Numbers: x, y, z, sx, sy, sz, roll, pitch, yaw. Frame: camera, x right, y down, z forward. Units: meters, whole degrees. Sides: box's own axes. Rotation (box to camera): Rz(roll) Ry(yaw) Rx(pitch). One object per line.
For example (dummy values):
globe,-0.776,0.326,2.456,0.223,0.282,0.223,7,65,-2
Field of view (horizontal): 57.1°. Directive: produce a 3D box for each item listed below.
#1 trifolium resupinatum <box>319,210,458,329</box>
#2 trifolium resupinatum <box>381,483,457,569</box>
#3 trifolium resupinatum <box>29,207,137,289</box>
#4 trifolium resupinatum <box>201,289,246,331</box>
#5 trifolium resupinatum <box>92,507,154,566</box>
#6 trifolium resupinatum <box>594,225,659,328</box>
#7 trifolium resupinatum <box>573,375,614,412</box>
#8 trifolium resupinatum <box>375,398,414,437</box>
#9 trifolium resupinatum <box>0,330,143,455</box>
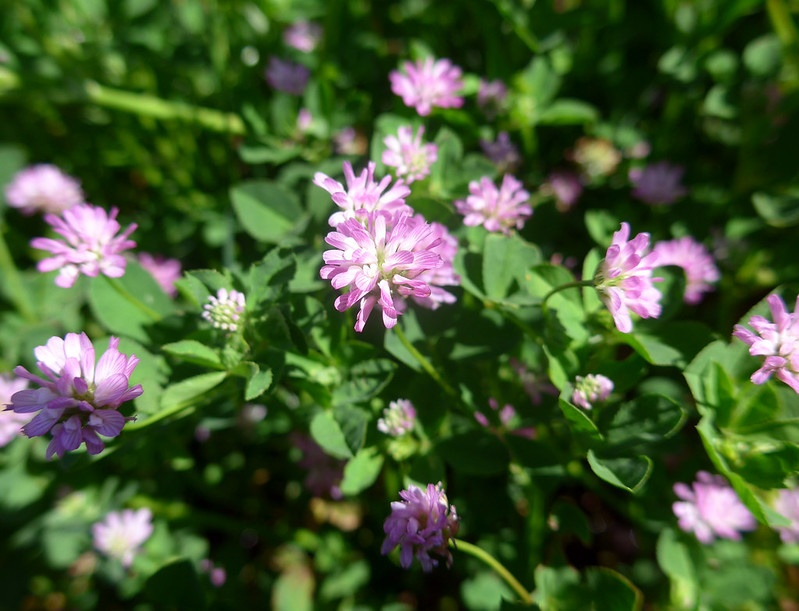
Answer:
trifolium resupinatum,-0.032,-0.161,2.080,0.377,0.410,0.219,15,99,11
trifolium resupinatum,0.061,0.627,2.121,0.204,0.177,0.241,7,81,1
trifolium resupinatum,-0.875,-0.196,2.172,0.216,0.230,0.126,3,78,-28
trifolium resupinatum,-0.529,-0.005,2.094,0.064,0.118,0.121,35,60,-32
trifolium resupinatum,-0.945,0.763,2.509,0.198,0.138,0.173,18,81,2
trifolium resupinatum,0.630,-0.077,2.051,0.101,0.262,0.263,8,52,35
trifolium resupinatum,0.560,0.252,2.221,0.087,0.107,0.117,-20,86,-26
trifolium resupinatum,-0.008,0.354,2.312,0.121,0.102,0.115,1,81,0
trifolium resupinatum,-0.869,0.244,1.993,0.339,0.144,0.342,5,81,0
